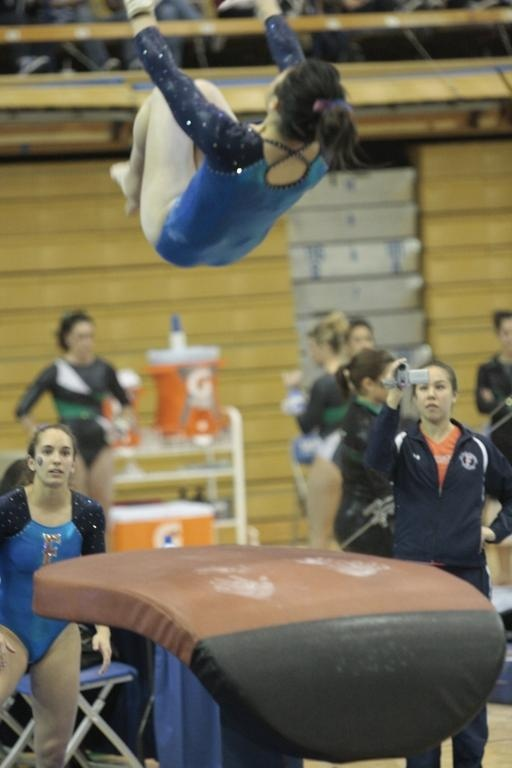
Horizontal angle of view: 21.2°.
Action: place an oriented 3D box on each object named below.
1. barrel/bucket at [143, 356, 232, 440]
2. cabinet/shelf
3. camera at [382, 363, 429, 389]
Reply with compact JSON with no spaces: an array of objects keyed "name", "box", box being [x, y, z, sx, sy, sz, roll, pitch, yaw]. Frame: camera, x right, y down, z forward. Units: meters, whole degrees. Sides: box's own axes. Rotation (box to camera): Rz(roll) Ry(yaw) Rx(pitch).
[{"name":"barrel/bucket","box":[-0.300,0.113,6.912,0.381,0.376,0.388,1,-7,0]},{"name":"cabinet/shelf","box":[-0.485,0.481,6.847,0.835,0.701,0.634,-3,6,-16]},{"name":"camera","box":[0.524,-0.036,4.859,0.064,0.108,0.231,4,-4,-40]}]
